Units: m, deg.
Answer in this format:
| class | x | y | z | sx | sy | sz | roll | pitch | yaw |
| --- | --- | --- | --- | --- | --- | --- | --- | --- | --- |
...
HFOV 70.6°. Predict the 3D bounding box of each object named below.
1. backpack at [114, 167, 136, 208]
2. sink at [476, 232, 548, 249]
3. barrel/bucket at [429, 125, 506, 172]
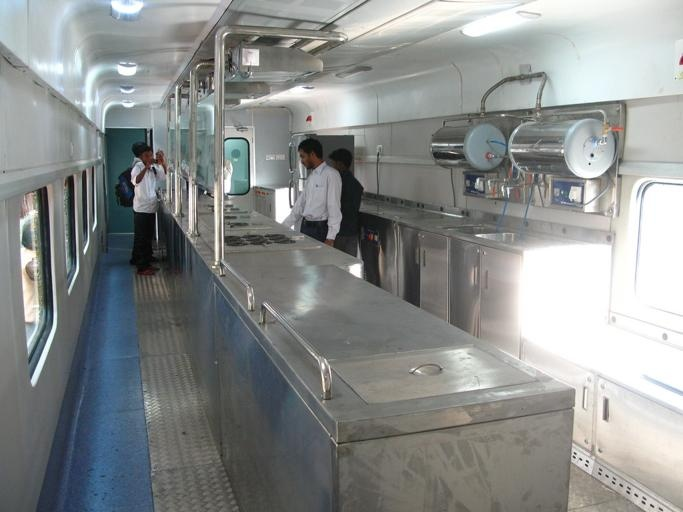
| class | x | y | z | sx | sy | sz | roll | pitch | yaw |
| --- | --- | --- | --- | --- | --- | --- | --- | --- | --- |
| backpack | -4.372 | -1.329 | 9.767 | 0.398 | 0.729 | 0.520 | -1 | 10 | -26 |
| sink | 1.618 | -0.146 | 4.506 | 0.304 | 0.081 | 0.306 | -9 | 17 | -29 |
| barrel/bucket | 1.366 | -1.154 | 5.090 | 0.464 | 0.511 | 0.821 | -4 | 12 | -15 |
